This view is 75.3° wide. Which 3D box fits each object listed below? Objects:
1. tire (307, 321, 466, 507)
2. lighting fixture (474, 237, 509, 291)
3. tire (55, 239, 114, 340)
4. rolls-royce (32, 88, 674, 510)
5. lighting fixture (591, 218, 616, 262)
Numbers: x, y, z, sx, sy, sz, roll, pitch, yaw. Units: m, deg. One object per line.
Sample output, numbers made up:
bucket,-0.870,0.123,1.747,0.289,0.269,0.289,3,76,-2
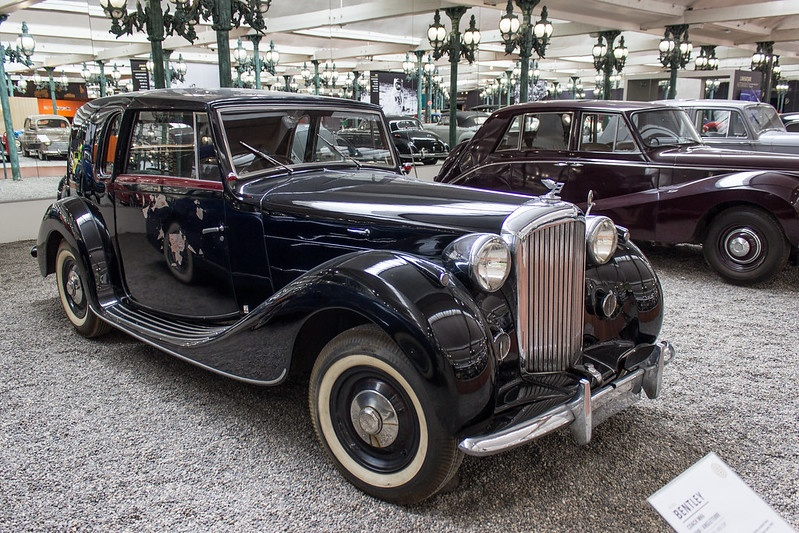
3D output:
tire,-0.043,0.815,2.814,0.876,0.953,0.315,4,14,42
lighting fixture,0.506,-0.015,2.864,0.264,0.320,0.120,-2,-2,-34
tire,-2.605,0.178,4.291,0.710,0.870,0.261,-8,1,45
rolls-royce,-0.414,-0.099,3.649,4.248,2.311,1.761,8,20,30
lighting fixture,1.317,-0.171,3.360,0.216,0.270,0.091,-7,10,-39
